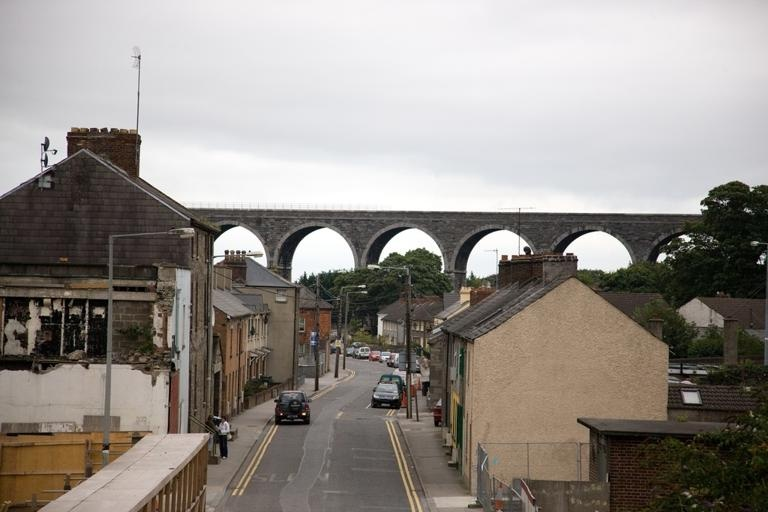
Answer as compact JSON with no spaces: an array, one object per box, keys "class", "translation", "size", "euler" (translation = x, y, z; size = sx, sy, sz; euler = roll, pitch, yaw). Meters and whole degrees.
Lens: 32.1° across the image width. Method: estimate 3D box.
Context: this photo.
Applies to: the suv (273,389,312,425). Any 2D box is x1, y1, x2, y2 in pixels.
[{"class":"suv","translation":[-4.716,7.767,68.446],"size":[1.456,1.341,2.616],"euler":[0,0,-3]}]
